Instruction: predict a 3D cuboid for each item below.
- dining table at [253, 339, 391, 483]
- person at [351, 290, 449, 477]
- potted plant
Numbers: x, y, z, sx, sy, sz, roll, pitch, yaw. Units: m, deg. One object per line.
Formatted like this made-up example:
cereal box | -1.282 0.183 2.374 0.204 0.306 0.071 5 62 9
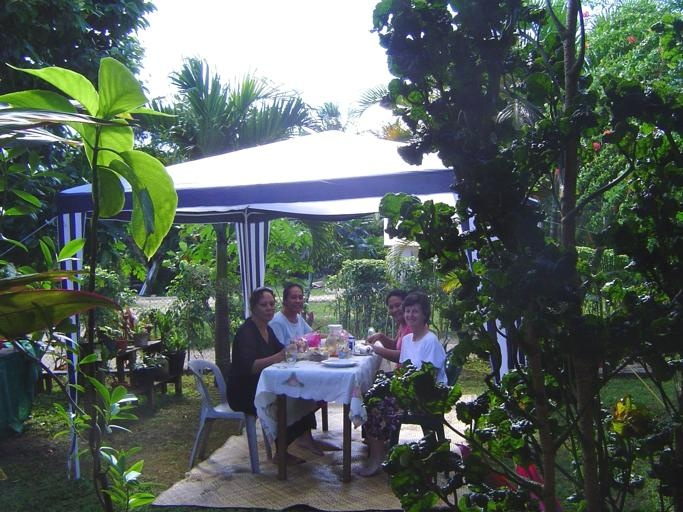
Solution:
dining table | -0.156 1.218 4.609 0.836 0.816 0.821 -1 1 13
person | 0.448 0.927 4.355 0.635 1.376 0.636 14 -20 -17
potted plant | -2.321 1.050 7.266 0.881 1.487 1.346 0 -3 5
